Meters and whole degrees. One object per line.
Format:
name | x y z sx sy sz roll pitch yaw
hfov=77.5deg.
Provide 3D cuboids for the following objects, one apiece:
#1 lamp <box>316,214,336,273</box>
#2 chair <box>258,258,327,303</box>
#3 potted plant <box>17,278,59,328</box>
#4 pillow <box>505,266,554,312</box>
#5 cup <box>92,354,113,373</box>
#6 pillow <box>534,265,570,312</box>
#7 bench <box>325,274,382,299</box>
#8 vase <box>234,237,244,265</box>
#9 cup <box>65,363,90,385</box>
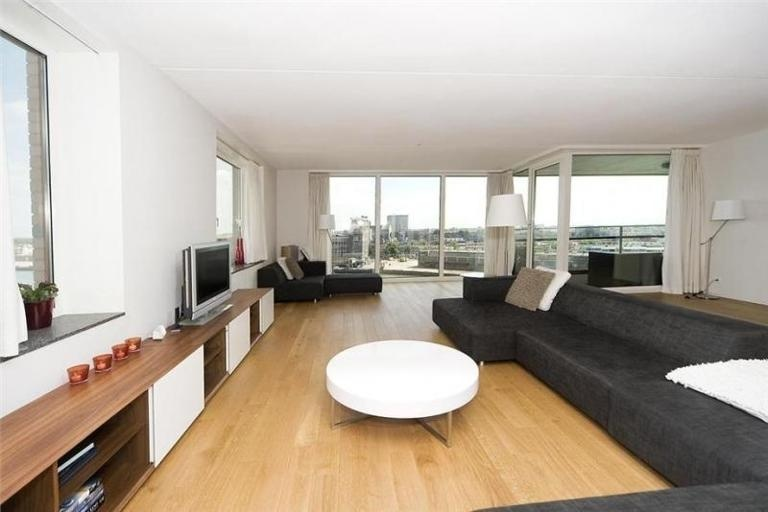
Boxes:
lamp | -1.119 -0.256 9.454 0.328 1.192 0.555 -1 5 -8
chair | -1.440 0.446 7.662 0.678 0.493 0.964 -1 4 -5
potted plant | -2.585 0.344 3.744 0.389 0.380 0.307 -1 8 -28
pillow | 1.701 0.367 5.549 0.148 0.453 0.497 33 -10 -13
cup | -2.140 0.820 3.652 0.131 0.091 0.115 3 0 44
pillow | 1.971 0.354 5.408 0.139 0.430 0.471 24 -33 -4
bench | -0.519 0.469 8.076 0.971 0.314 0.304 -1 5 -9
vase | -2.145 -0.091 7.123 0.154 0.404 0.348 -2 5 -16
cup | -2.244 0.873 3.522 0.125 0.093 0.146 2 -4 -23
